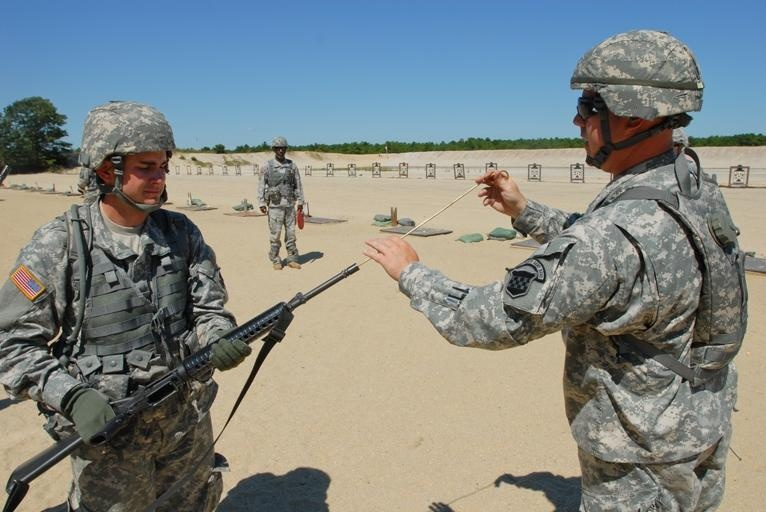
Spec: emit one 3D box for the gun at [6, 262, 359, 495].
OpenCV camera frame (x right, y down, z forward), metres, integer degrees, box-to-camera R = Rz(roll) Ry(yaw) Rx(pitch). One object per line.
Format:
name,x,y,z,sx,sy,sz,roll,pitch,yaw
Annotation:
gun,-1.614,1.102,5.145,3.114,0.271,0.979,-26,32,-16

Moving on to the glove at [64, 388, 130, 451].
glove,-1.851,1.016,4.018,0.269,0.139,0.373,-24,56,-42

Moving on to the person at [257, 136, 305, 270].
person,-2.089,-1.040,12.926,0.866,2.617,0.912,-1,4,-8

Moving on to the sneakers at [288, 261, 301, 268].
sneakers,-1.798,0.192,12.792,0.223,0.089,0.122,6,24,29
